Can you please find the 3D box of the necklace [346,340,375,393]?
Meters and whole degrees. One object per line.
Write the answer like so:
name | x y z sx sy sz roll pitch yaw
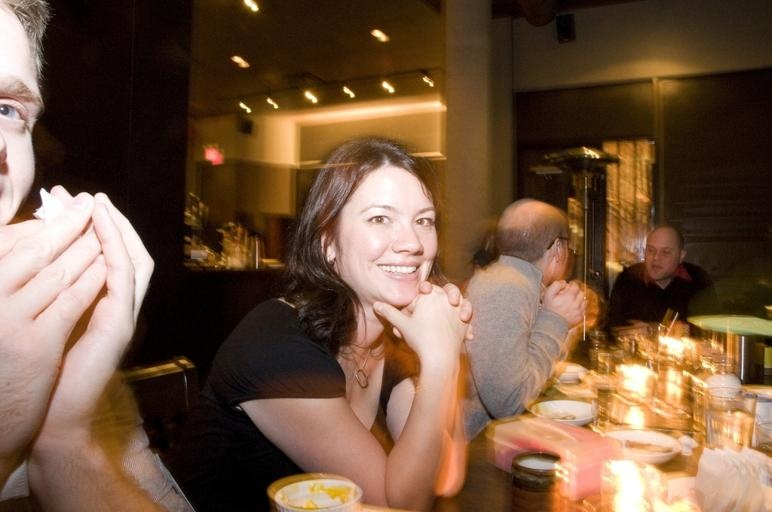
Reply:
necklace | -0.089 0.416 2.200 0.102 0.163 0.043 6 -5 -38

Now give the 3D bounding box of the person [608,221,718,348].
person | 1.916 0.210 4.218 0.638 0.766 0.979 11 22 42

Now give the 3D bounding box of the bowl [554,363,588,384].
bowl | 0.870 0.556 2.791 0.104 0.043 0.105 -14 -7 -2
